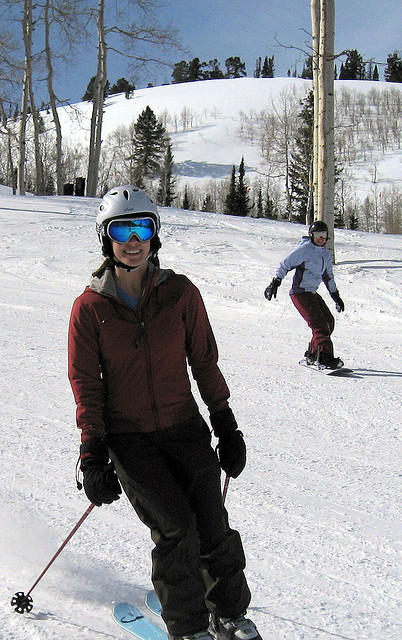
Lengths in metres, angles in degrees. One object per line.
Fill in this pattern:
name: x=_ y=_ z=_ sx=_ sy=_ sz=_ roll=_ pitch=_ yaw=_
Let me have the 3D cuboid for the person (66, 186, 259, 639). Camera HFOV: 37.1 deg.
person: x=-0.130 y=0.301 z=2.260 sx=0.632 sy=1.566 sz=0.943 roll=-5 pitch=14 yaw=-41

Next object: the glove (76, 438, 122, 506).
glove: x=-0.371 y=0.554 z=2.171 sx=0.130 sy=0.217 sz=0.215 roll=1 pitch=11 yaw=-19

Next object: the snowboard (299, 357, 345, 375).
snowboard: x=1.311 y=0.505 z=6.770 sx=0.576 sy=0.128 sz=0.318 roll=12 pitch=13 yaw=38

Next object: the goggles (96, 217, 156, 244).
goggles: x=-0.278 y=-0.355 z=2.375 sx=0.189 sy=0.108 sz=0.073 roll=4 pitch=10 yaw=-4

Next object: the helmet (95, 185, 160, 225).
helmet: x=-0.304 y=-0.465 z=2.429 sx=0.199 sy=0.180 sz=0.179 roll=-12 pitch=16 yaw=-31

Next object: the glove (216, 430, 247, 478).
glove: x=0.121 y=0.527 z=2.383 sx=0.132 sy=0.172 sz=0.063 roll=-12 pitch=-2 yaw=38

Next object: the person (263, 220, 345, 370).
person: x=1.284 y=-0.310 z=6.945 sx=0.983 sy=1.640 sz=0.681 roll=10 pitch=12 yaw=26
